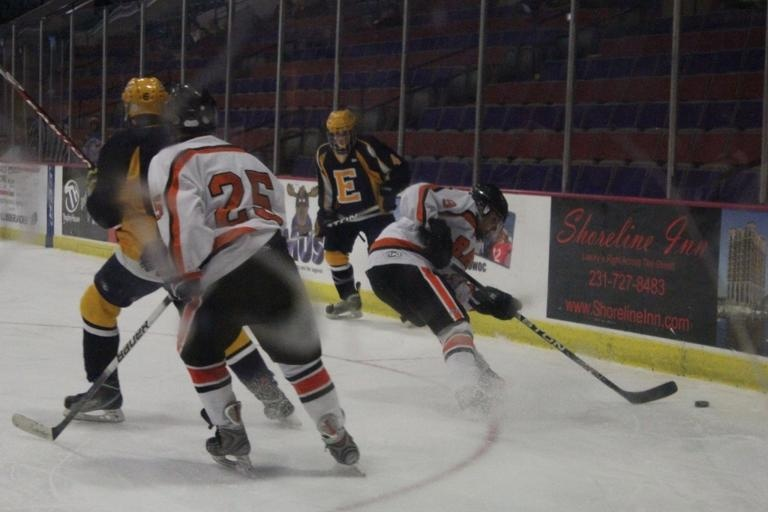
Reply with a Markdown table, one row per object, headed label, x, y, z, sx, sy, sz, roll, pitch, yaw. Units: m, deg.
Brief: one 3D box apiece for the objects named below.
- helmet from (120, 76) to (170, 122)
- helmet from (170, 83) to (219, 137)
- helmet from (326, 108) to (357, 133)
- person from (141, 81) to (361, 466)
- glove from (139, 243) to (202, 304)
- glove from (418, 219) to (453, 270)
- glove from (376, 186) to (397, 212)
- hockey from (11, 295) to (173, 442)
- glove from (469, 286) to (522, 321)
| label | x | y | z | sx | sy | sz | roll | pitch | yaw |
| --- | --- | --- | --- | --- | --- | --- | --- | --- | --- |
| helmet | -1.385 | -0.906 | 5.052 | 0.269 | 0.271 | 0.299 | 0 | 19 | -14 |
| helmet | -1.027 | -0.773 | 4.758 | 0.231 | 0.283 | 0.110 | 2 | 3 | -7 |
| helmet | -0.371 | -1.119 | 7.345 | 0.197 | 0.200 | 0.230 | 2 | 27 | 23 |
| person | -0.716 | 0.251 | 4.599 | 0.995 | 1.740 | 0.331 | 0 | 7 | -14 |
| glove | -1.091 | 0.081 | 4.595 | 0.387 | 0.219 | 0.149 | 39 | 14 | 3 |
| glove | 0.311 | -0.062 | 5.586 | 0.096 | 0.291 | 0.243 | -17 | -24 | 30 |
| glove | 0.029 | -0.484 | 7.424 | 0.157 | 0.188 | 0.060 | 8 | 0 | -4 |
| hockey | -1.842 | 0.734 | 5.552 | 0.234 | 1.136 | 0.087 | 46 | -17 | 10 |
| glove | 0.690 | 0.283 | 5.713 | 0.334 | 0.178 | 0.134 | 21 | 21 | 15 |
